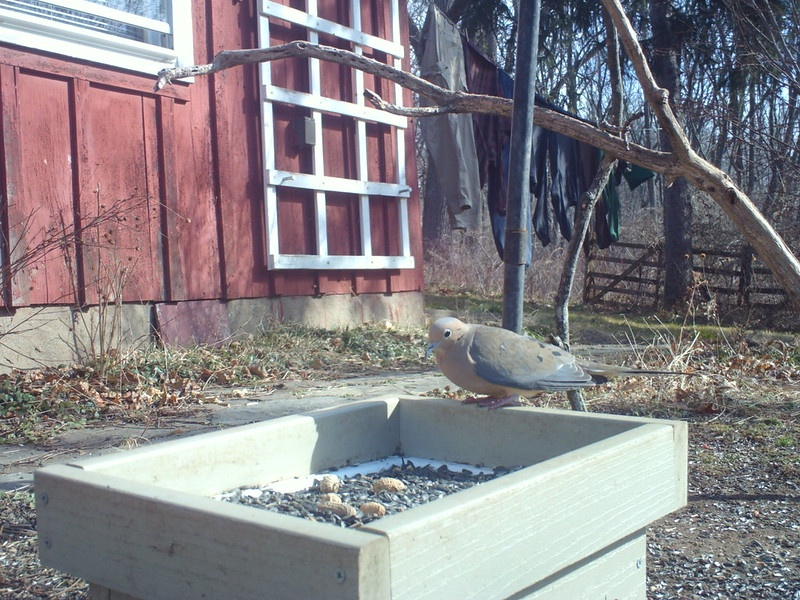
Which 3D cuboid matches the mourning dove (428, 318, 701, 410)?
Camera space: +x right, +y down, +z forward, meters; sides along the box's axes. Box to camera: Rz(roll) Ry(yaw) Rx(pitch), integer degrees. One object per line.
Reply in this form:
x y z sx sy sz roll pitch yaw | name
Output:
0.995 0.287 6.875 1.601 0.650 0.485 -3 12 4 | mourning dove
